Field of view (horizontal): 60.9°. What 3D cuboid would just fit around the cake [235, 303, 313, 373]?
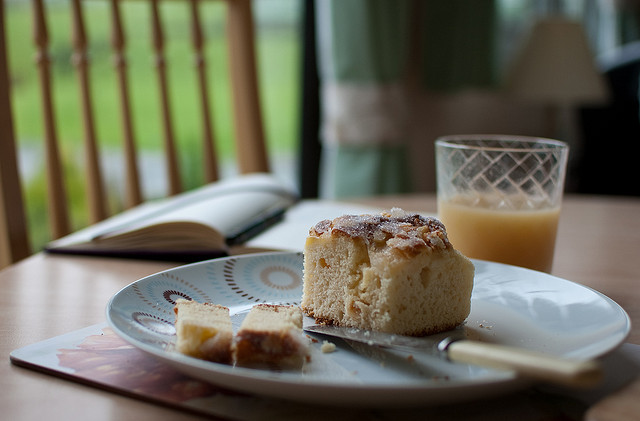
[{"bbox_3d":[-0.078,0.212,0.944,0.120,0.058,0.201,3,5,-2],"label":"cake"}]

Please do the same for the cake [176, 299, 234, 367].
[{"bbox_3d":[-0.201,0.199,0.941,0.098,0.048,0.206,9,3,-17],"label":"cake"}]

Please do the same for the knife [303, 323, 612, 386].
[{"bbox_3d":[0.190,0.204,0.847,0.488,0.034,0.063,-1,36,47],"label":"knife"}]

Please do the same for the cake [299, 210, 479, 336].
[{"bbox_3d":[0.132,0.084,1.081,0.258,0.215,0.254,-2,5,-38],"label":"cake"}]
